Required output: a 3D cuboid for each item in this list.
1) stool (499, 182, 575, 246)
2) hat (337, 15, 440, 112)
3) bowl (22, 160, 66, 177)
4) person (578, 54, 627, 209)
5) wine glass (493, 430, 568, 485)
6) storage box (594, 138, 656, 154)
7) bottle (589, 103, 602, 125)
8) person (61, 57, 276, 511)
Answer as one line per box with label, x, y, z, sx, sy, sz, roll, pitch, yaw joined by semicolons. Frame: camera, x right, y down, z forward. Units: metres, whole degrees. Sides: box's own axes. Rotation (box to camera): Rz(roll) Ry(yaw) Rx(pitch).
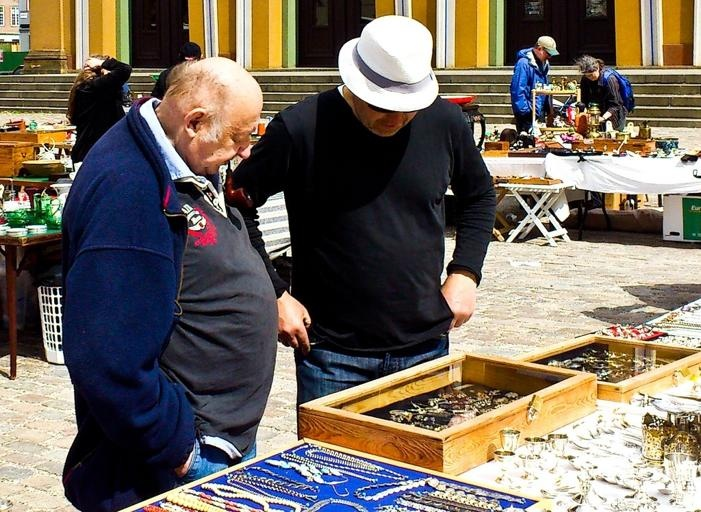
stool;2.552;-0.633;11.666;0.914;0.843;1.034;3;14;24
hat;0.167;-0.752;3.296;0.346;0.429;0.155;-15;-34;-15
bowl;-3.479;-0.962;9.370;0.501;0.177;0.161;1;12;8
person;4.259;-2.288;13.855;0.901;2.003;0.681;-26;32;-13
wine glass;0.618;0.690;2.864;0.164;0.074;0.207;-1;3;5
storage box;3.819;-1.528;11.693;0.851;0.160;0.611;3;13;18
bottle;3.738;-2.138;12.790;0.164;0.321;0.614;3;12;16
person;-0.613;0.107;2.852;0.786;1.515;0.385;-10;15;-40
